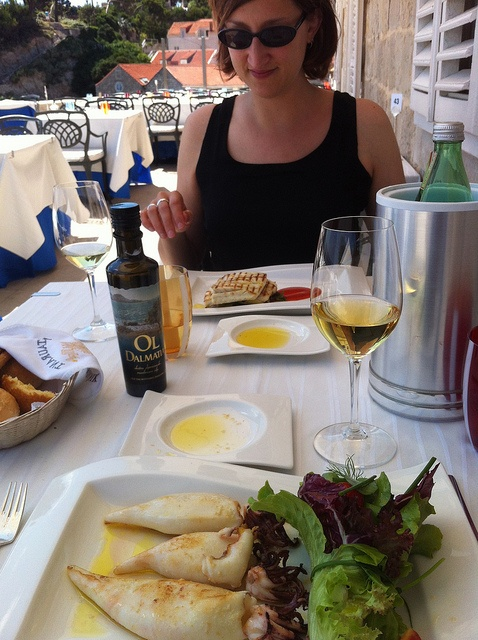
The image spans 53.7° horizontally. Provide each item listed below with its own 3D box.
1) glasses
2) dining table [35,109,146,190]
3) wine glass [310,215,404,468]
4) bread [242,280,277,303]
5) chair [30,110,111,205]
[{"bbox_3d":[0.046,-0.739,1.242,0.205,0.051,0.074,-2,26,2],"label":"glasses"},{"bbox_3d":[-1.624,-2.219,5.983,0.905,0.503,0.967,20,2,27],"label":"dining table"},{"bbox_3d":[0.133,0.026,0.534,0.102,0.273,0.148,0,26,8],"label":"wine glass"},{"bbox_3d":[0.055,-0.056,1.006,0.052,0.016,0.052,-12,18,-17],"label":"bread"},{"bbox_3d":[-1.882,-1.916,5.414,0.624,1.019,0.707,1,32,-4],"label":"chair"}]
